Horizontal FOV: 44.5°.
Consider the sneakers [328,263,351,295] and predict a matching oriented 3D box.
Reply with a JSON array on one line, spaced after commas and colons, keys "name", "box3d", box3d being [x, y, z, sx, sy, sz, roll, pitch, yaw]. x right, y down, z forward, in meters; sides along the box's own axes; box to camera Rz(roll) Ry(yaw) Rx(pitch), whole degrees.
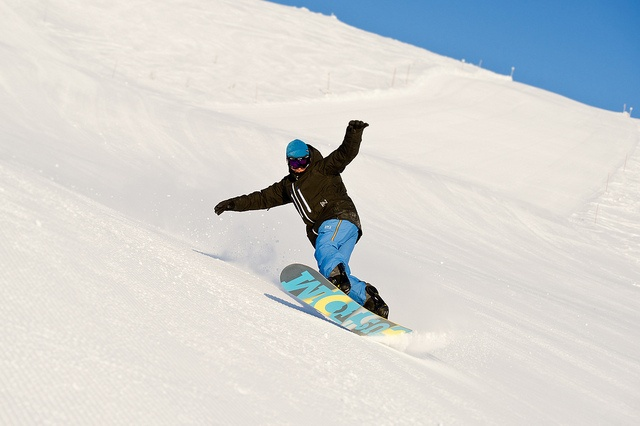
[{"name": "sneakers", "box3d": [0.338, 1.147, 13.554, 0.279, 0.126, 0.517, -33, 65, -8]}]

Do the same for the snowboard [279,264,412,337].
[{"name": "snowboard", "box3d": [0.379, 1.567, 13.543, 1.920, 0.275, 0.454, 27, 110, 4]}]

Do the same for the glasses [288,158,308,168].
[{"name": "glasses", "box3d": [-0.389, -0.901, 14.107, 0.389, 0.122, 0.168, -5, 67, -3]}]

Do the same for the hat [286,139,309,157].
[{"name": "hat", "box3d": [-0.407, -1.155, 14.175, 0.389, 0.247, 0.369, 1, 67, 0]}]
